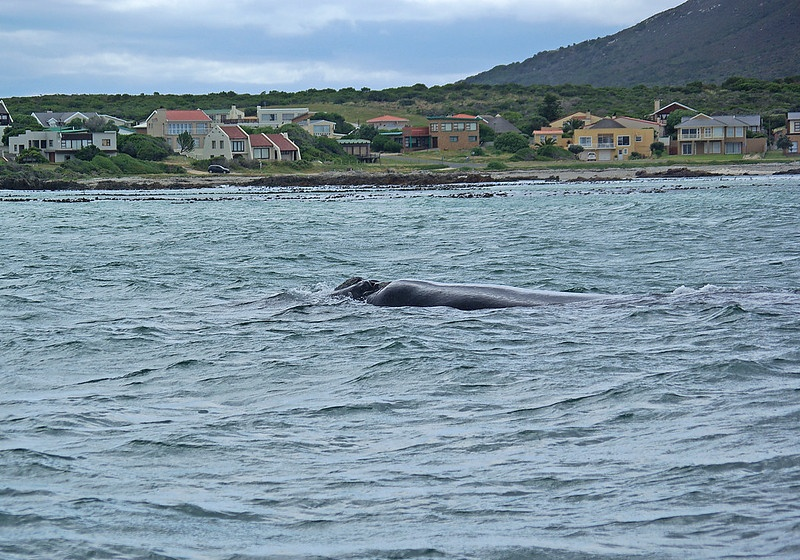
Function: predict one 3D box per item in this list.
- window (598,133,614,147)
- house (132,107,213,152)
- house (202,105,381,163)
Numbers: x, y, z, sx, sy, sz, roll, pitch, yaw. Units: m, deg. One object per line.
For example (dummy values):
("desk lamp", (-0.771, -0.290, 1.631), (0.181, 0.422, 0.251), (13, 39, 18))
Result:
("window", (17.212, -11.724, 121.296), (1.263, 1.125, 0.433), (1, 11, 7))
("house", (-17.731, -12.711, 118.851), (8.189, 3.825, 4.688), (-2, 5, -38))
("house", (-9.476, -13.609, 133.050), (14.634, 4.804, 50.031), (-1, 7, -4))
